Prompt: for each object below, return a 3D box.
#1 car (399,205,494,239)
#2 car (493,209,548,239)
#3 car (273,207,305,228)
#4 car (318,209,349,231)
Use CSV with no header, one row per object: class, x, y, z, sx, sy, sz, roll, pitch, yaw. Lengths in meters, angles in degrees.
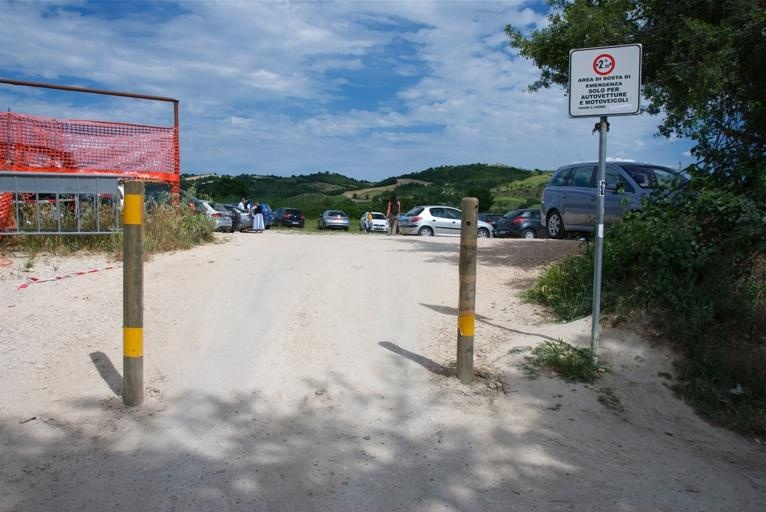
car,1.913,-1.355,23.936,2.371,1.307,1.352,6,13,10
car,5.507,-1.280,23.688,1.878,0.846,1.024,-5,6,-22
car,-6.321,-2.506,39.932,2.022,1.458,1.240,9,14,25
car,-3.129,-2.191,37.576,1.399,1.160,2.164,-5,15,-32
